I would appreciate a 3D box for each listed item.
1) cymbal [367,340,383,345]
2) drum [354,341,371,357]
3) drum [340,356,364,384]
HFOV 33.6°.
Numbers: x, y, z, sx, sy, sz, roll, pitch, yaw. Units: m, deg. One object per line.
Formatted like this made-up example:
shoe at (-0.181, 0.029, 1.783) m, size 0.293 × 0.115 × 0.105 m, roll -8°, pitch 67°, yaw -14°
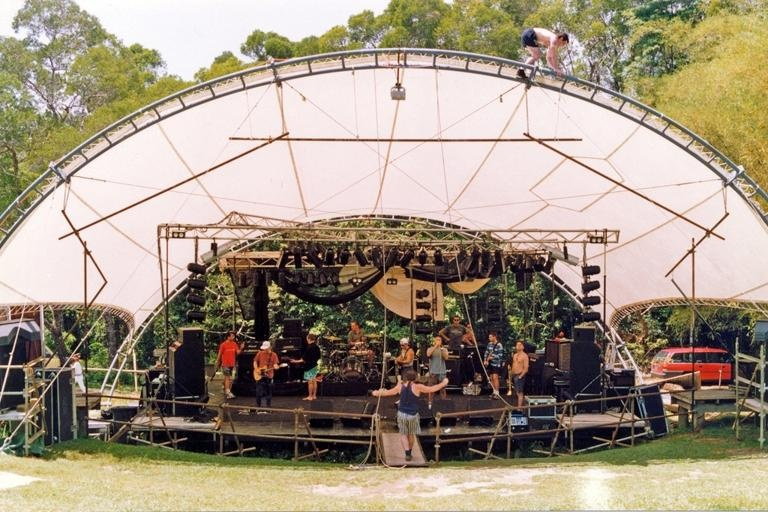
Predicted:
cymbal at (-0.435, 3.767, 55.978) m, size 0.518 × 0.122 × 0.490 m, roll -1°, pitch 1°, yaw -17°
drum at (-0.923, 3.631, 50.096) m, size 0.499 × 0.424 × 0.613 m, roll 2°, pitch -1°, yaw -39°
drum at (-1.276, 4.401, 49.092) m, size 0.976 × 0.845 × 0.938 m, roll 1°, pitch 1°, yaw 11°
